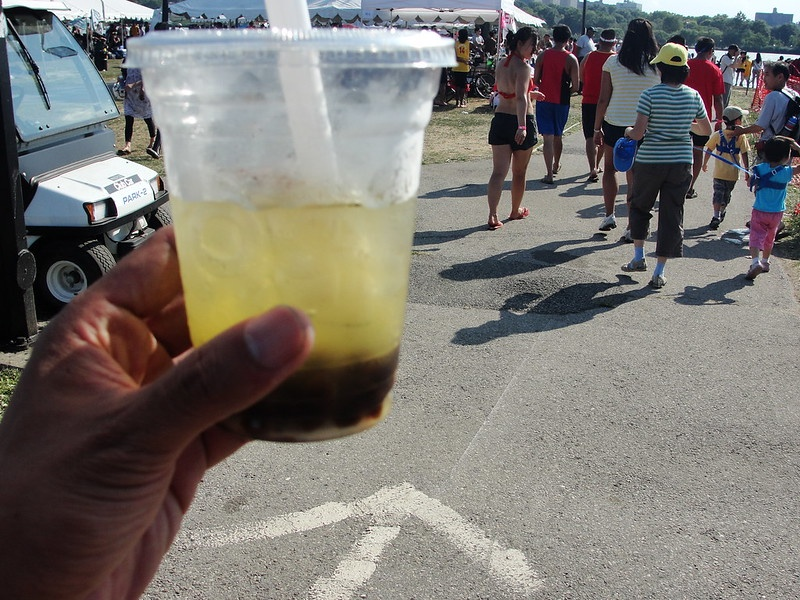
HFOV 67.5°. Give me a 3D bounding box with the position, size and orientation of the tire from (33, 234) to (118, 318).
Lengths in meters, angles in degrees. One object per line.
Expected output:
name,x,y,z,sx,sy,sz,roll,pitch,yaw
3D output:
tire,-2.998,-0.199,5.559,0.667,0.624,0.240,-13,10,11

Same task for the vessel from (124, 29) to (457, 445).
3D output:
vessel,-0.170,-0.169,1.403,0.800,0.869,0.718,-1,13,-4

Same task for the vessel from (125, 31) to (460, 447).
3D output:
vessel,-0.221,-0.149,1.259,0.631,0.759,0.619,-11,15,-39
